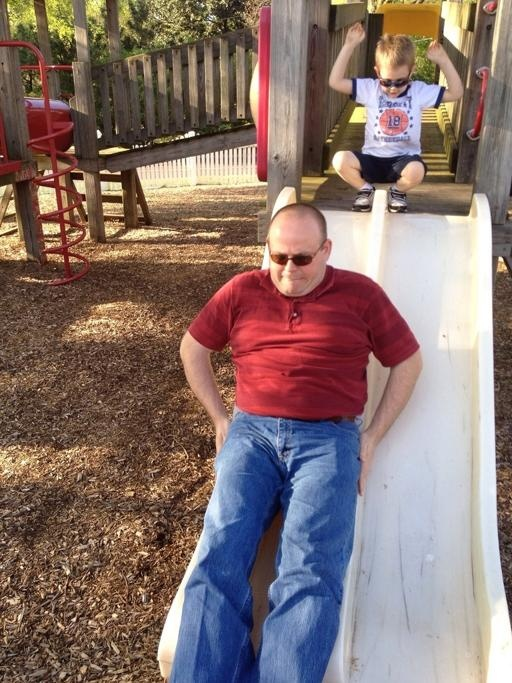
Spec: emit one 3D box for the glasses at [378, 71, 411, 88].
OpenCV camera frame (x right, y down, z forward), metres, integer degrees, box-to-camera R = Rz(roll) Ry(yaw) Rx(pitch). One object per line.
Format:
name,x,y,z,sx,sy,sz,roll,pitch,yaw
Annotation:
glasses,0.709,-1.354,2.540,0.150,0.064,0.119,8,27,21

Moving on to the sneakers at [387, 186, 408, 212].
sneakers,0.734,-0.732,2.534,0.061,0.101,0.207,1,20,5

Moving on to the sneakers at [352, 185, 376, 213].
sneakers,0.568,-0.749,2.591,0.067,0.096,0.204,2,21,21

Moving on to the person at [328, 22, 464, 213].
person,0.755,-1.212,2.655,0.621,0.918,0.488,2,47,12
